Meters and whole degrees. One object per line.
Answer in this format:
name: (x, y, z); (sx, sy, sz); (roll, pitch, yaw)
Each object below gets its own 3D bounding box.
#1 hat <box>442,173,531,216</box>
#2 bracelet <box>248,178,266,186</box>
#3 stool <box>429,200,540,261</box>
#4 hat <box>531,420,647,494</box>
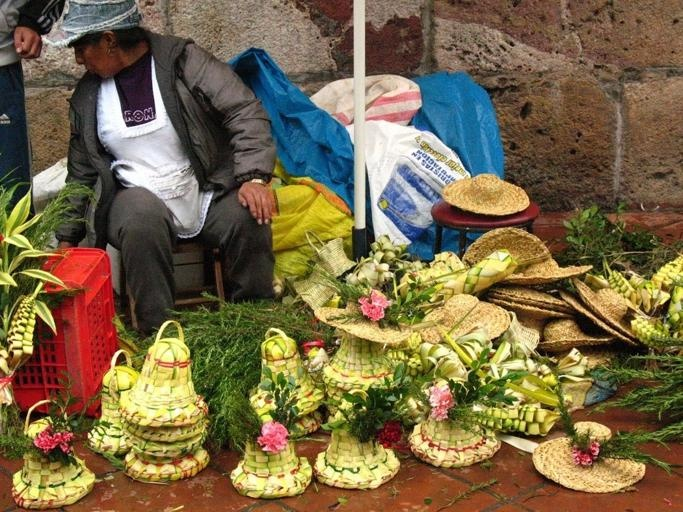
hat: (0.821, -0.348, 3.825); (0.367, 0.091, 0.321); (-10, 32, -18)
bracelet: (-0.464, -0.411, 3.726); (0.096, 0.040, 0.059); (-3, 23, -12)
stool: (0.810, -0.171, 3.823); (0.459, 0.473, 0.406); (-5, 38, -3)
hat: (0.931, 0.780, 2.543); (0.371, 0.110, 0.275); (20, 28, 39)
